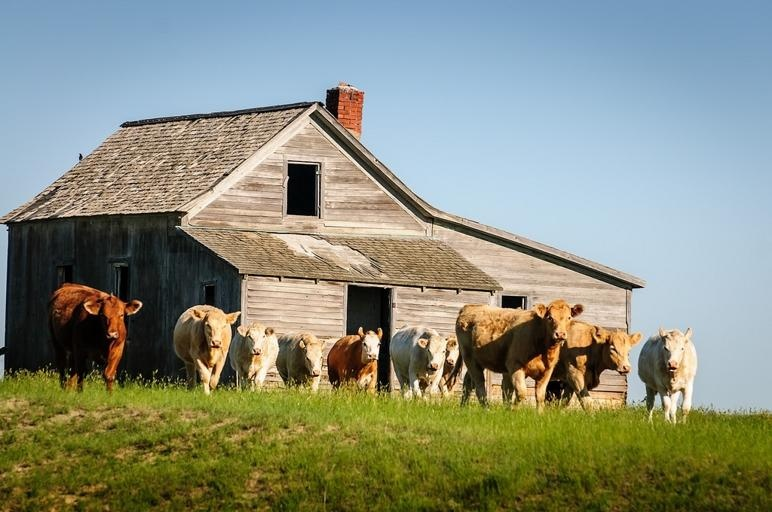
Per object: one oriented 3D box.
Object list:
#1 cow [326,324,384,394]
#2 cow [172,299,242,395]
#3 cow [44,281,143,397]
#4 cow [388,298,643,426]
[{"bbox_3d":[-0.715,2.612,30.941,0.832,1.586,2.427,6,-5,-19],"label":"cow"},{"bbox_3d":[-4.526,2.268,30.047,0.928,2.141,2.550,7,-6,-23],"label":"cow"},{"bbox_3d":[-7.237,1.962,29.651,1.411,2.555,3.527,8,-6,-30],"label":"cow"},{"bbox_3d":[3.590,2.363,29.135,2.744,2.566,3.699,8,-6,-38],"label":"cow"}]
